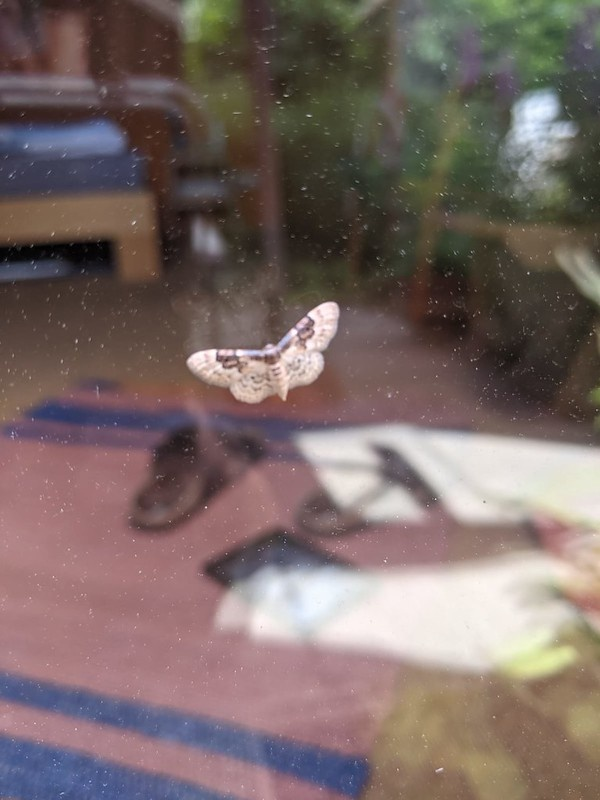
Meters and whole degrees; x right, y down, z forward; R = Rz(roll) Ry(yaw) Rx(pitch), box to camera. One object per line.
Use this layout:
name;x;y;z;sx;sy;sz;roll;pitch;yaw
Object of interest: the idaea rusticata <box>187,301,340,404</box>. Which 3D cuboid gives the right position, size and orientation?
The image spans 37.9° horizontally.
idaea rusticata;-0.031;-0.039;1.028;0.187;0.127;0.064;-10;39;-18
